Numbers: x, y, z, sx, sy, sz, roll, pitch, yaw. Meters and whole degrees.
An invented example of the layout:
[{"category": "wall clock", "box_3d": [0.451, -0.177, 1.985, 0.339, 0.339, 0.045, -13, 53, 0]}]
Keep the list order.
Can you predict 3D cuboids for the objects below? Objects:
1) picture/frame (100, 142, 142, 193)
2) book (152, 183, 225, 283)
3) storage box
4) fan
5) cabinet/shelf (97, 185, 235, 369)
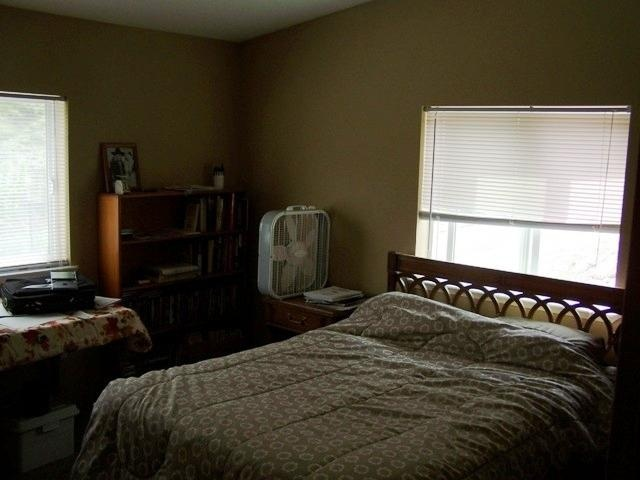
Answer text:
[{"category": "picture/frame", "box_3d": [-1.657, -0.603, 4.127, 0.267, 0.386, 0.023, -3, 13, -8]}, {"category": "book", "box_3d": [-1.259, -0.095, 4.717, 0.620, 0.980, 0.947, -2, 6, -34]}, {"category": "storage box", "box_3d": [-1.844, 1.302, 3.357, 0.305, 0.385, 0.513, 3, 5, 32]}, {"category": "fan", "box_3d": [-0.206, 0.116, 4.013, 0.668, 0.862, 0.296, -4, 13, -36]}, {"category": "cabinet/shelf", "box_3d": [-1.425, 0.290, 4.157, 0.313, 1.374, 0.893, 10, 9, 32]}]
